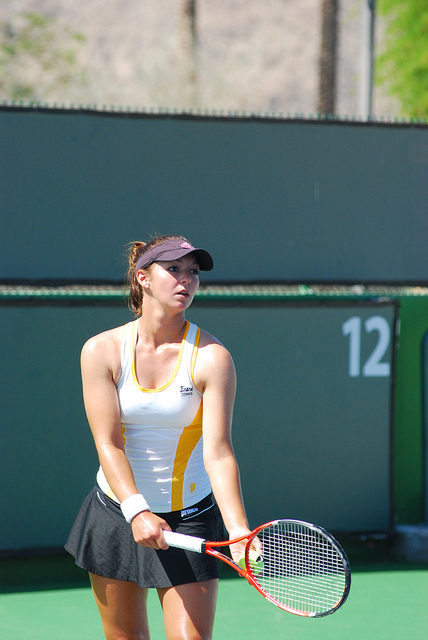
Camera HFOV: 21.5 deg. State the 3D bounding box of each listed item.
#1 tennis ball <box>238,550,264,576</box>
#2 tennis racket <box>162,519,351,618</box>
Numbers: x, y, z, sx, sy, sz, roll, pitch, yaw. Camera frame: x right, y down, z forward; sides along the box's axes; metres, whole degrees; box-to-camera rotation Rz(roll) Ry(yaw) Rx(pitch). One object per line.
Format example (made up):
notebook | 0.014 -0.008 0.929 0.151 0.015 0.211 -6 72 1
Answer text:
tennis ball | 0.212 1.351 6.250 0.138 0.157 0.058 -1 9 3
tennis racket | 0.078 1.426 6.906 1.741 0.584 0.123 2 4 41
